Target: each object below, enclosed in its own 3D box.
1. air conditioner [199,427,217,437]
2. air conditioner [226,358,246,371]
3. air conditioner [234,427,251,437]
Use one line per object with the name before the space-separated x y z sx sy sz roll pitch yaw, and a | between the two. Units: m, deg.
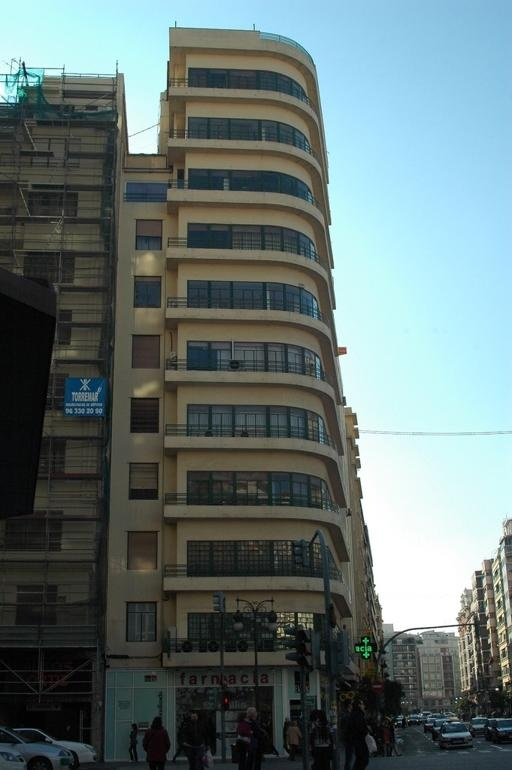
air conditioner | -2.333 2.236 41.787 1.107 0.554 0.209 3 -23 -9
air conditioner | -0.981 -0.979 42.823 0.629 0.450 0.651 -1 -8 -2
air conditioner | -0.651 2.339 41.693 0.691 0.712 0.386 0 -23 4
